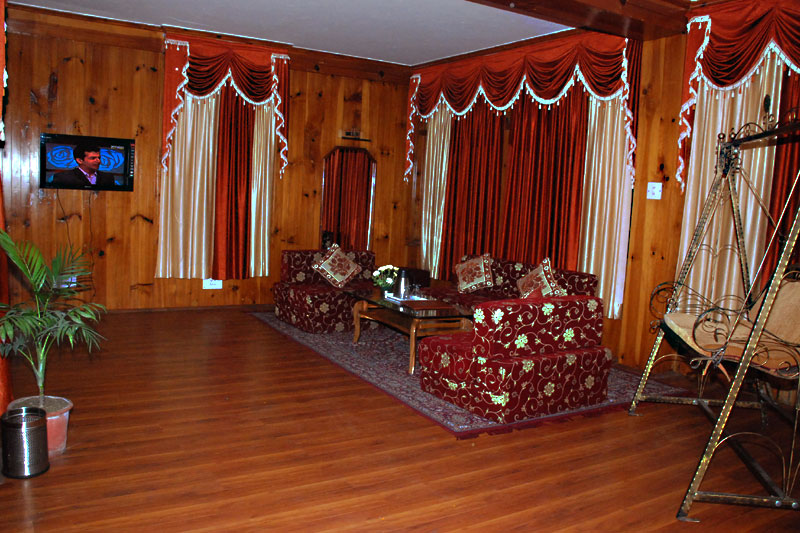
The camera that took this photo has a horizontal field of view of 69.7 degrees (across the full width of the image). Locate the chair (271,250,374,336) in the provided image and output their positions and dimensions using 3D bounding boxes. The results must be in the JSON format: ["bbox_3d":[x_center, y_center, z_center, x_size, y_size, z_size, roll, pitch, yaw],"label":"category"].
[{"bbox_3d":[-1.056,0.279,7.824,1.477,0.980,1.039,-2,7,-27],"label":"chair"}]

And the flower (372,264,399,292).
[{"bbox_3d":[-0.164,0.133,7.061,0.309,0.220,0.313,8,11,38],"label":"flower"}]

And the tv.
[{"bbox_3d":[-4.097,-1.344,7.421,0.837,0.565,0.086,-3,9,-26],"label":"tv"}]

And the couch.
[{"bbox_3d":[0.975,0.603,5.636,1.308,1.029,1.285,-3,9,-27],"label":"couch"}]
